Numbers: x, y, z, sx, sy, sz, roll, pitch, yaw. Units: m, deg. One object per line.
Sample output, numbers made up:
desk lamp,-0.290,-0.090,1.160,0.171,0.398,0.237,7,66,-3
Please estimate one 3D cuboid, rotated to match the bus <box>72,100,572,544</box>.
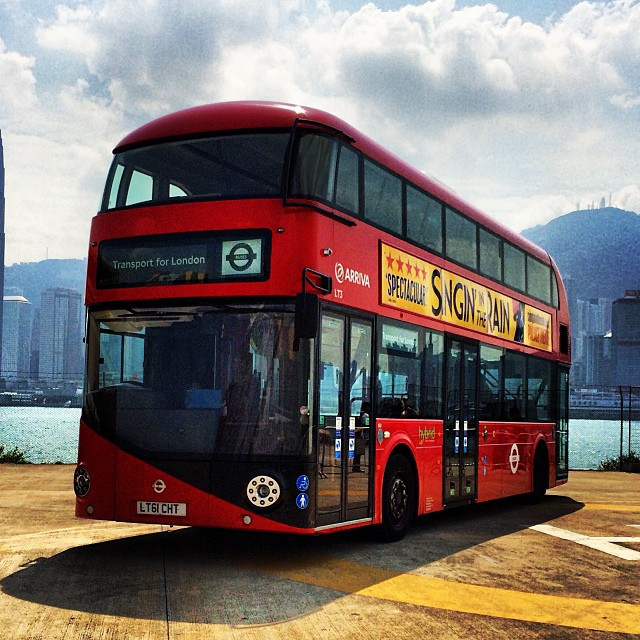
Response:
bus,0.646,0.682,12.547,3.416,5.648,11.346,-3,-9,28
